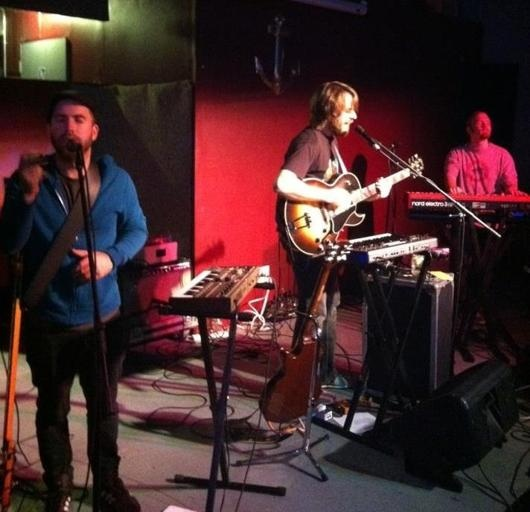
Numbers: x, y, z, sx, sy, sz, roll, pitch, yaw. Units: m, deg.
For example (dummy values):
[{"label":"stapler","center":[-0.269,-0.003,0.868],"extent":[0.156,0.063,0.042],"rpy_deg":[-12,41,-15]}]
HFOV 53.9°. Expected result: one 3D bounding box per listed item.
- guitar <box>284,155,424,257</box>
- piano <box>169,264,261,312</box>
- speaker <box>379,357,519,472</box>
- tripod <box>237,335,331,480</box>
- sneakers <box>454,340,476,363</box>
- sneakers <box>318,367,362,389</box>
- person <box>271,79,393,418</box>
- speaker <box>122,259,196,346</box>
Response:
[{"label":"guitar","center":[0.560,-0.419,3.468],"extent":[1.128,0.508,0.140],"rpy_deg":[-35,27,-25]},{"label":"piano","center":[-0.188,0.134,2.078],"extent":[0.237,0.110,0.504],"rpy_deg":[8,12,9]},{"label":"speaker","center":[1.045,0.820,2.809],"extent":[0.590,0.449,0.457],"rpy_deg":[-12,9,-38]},{"label":"tripod","center":[0.131,0.746,2.830],"extent":[0.480,0.710,0.537],"rpy_deg":[6,10,6]},{"label":"sneakers","center":[1.641,0.785,4.302],"extent":[0.080,0.121,0.263],"rpy_deg":[-13,5,6]},{"label":"sneakers","center":[0.542,0.905,3.749],"extent":[0.269,0.102,0.230],"rpy_deg":[1,-1,-13]},{"label":"person","center":[0.367,-0.161,3.452],"extent":[0.553,1.874,0.489],"rpy_deg":[-13,23,-35]},{"label":"speaker","center":[-0.926,0.412,4.451],"extent":[0.598,0.634,0.210],"rpy_deg":[-8,10,-33]}]
